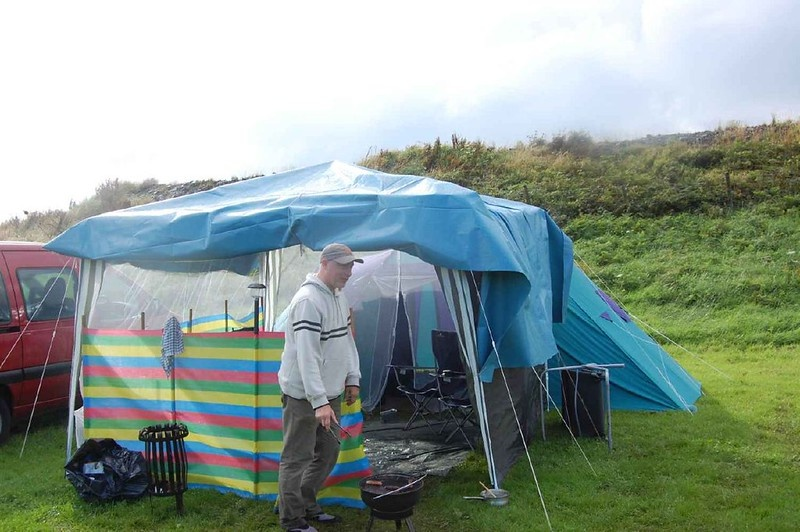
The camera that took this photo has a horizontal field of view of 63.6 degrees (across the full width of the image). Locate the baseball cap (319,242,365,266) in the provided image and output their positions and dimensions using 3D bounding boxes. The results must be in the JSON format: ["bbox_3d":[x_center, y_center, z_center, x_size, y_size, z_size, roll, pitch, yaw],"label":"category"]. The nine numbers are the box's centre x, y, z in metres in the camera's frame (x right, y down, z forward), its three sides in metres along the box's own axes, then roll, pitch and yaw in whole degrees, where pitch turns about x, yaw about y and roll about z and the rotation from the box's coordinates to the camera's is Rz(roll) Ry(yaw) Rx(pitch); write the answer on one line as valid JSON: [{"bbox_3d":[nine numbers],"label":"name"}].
[{"bbox_3d":[-0.627,-0.125,6.720,0.326,0.148,0.237,3,1,9],"label":"baseball cap"}]

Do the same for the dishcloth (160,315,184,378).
[{"bbox_3d":[-2.697,0.948,7.667,0.285,0.694,0.098,-4,-3,18],"label":"dishcloth"}]

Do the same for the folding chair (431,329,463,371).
[{"bbox_3d":[0.662,1.206,9.235,0.475,0.717,0.505,-4,-3,13],"label":"folding chair"}]

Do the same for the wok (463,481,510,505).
[{"bbox_3d":[0.993,2.553,7.201,0.368,0.133,0.206,-1,0,-36],"label":"wok"}]

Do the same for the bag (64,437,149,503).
[{"bbox_3d":[-3.326,2.409,7.436,0.860,0.727,0.313,3,-36,-16],"label":"bag"}]
